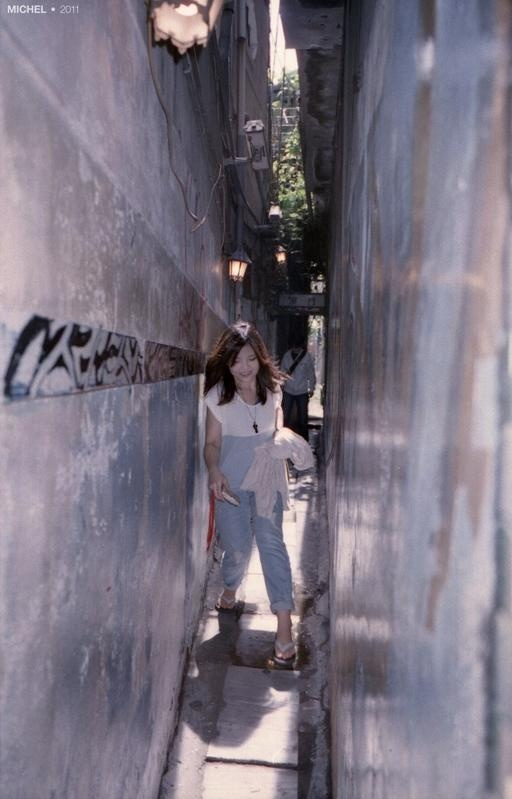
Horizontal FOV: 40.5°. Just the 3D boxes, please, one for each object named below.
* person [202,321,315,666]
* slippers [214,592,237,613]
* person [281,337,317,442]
[{"bbox_3d":[-0.053,0.443,3.249,0.467,1.527,0.437,13,23,36],"label":"person"},{"bbox_3d":[-0.151,1.034,3.506,0.059,0.110,0.108,1,74,-4],"label":"slippers"},{"bbox_3d":[0.482,-0.116,8.611,0.391,1.756,0.521,-5,41,-3],"label":"person"}]
